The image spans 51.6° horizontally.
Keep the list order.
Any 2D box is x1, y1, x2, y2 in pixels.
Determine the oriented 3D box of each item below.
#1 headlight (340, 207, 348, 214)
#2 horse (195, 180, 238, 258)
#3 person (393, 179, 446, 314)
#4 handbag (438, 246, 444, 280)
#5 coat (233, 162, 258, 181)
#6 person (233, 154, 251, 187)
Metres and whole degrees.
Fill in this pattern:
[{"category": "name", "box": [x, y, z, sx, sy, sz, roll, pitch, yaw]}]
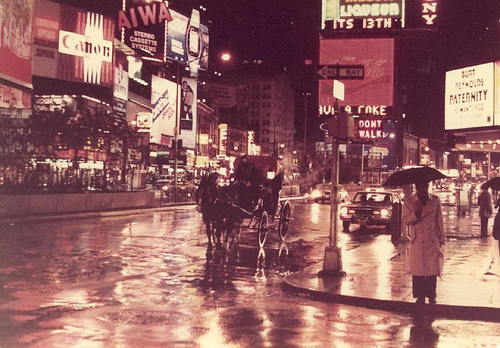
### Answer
[{"category": "headlight", "box": [4.898, 1.884, 26.915, 0.158, 0.344, 0.414, 5, -4, -36]}, {"category": "horse", "box": [-1.235, 1.581, 19.034, 1.235, 2.810, 1.069, 1, 0, -39]}, {"category": "person", "box": [3.787, 1.544, 11.316, 0.868, 2.883, 0.621, 3, -3, -8]}, {"category": "handbag", "box": [4.169, 1.916, 11.261, 0.105, 0.647, 0.521, 1, -3, 21]}, {"category": "coat", "box": [-0.102, -0.043, 20.146, 0.980, 0.832, 0.588, -1, -10, 6]}, {"category": "person", "box": [-0.296, -0.131, 19.956, 0.649, 1.272, 0.627, 3, -3, -6]}]
